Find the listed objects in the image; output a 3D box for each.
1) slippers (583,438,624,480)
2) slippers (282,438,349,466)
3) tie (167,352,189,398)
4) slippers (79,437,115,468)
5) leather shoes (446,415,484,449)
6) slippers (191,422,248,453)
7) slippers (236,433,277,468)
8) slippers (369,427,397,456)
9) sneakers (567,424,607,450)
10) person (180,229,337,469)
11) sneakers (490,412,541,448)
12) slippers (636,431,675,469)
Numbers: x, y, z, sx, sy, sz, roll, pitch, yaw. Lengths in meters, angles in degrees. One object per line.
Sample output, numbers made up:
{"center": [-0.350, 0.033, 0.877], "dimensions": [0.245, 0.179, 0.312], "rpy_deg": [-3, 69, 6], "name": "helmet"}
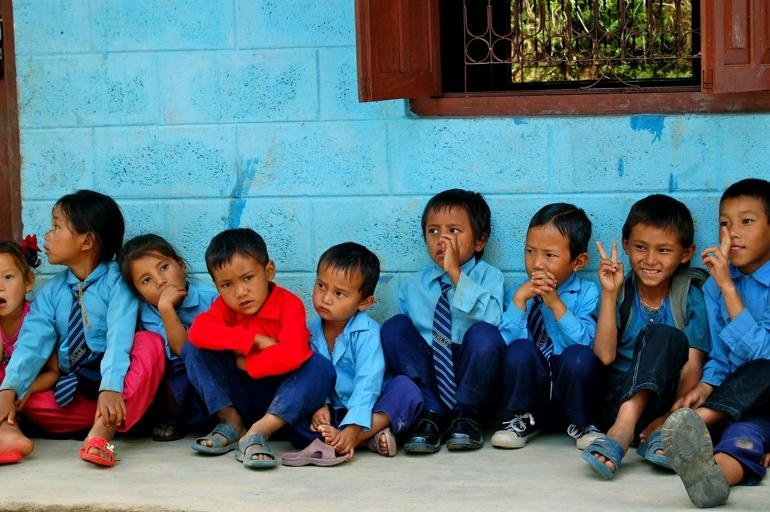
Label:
{"center": [1.021, 0.934, 3.913], "dimensions": [0.129, 0.098, 0.233], "rpy_deg": [38, 6, 4], "name": "slippers"}
{"center": [-0.356, 0.971, 4.196], "dimensions": [0.246, 0.082, 0.143], "rpy_deg": [-1, -3, -1], "name": "slippers"}
{"center": [-1.109, 0.639, 4.500], "dimensions": [0.086, 0.218, 0.138], "rpy_deg": [-2, -7, -34], "name": "tie"}
{"center": [-1.413, 0.960, 4.159], "dimensions": [0.163, 0.150, 0.211], "rpy_deg": [-5, 11, -19], "name": "slippers"}
{"center": [0.421, 0.917, 4.399], "dimensions": [0.190, 0.168, 0.202], "rpy_deg": [0, 10, 4], "name": "leather shoes"}
{"center": [-0.843, 0.941, 4.345], "dimensions": [0.120, 0.105, 0.283], "rpy_deg": [1, 1, 33], "name": "slippers"}
{"center": [-0.628, 0.963, 4.117], "dimensions": [0.197, 0.167, 0.137], "rpy_deg": [-2, 11, -8], "name": "slippers"}
{"center": [-0.010, 0.960, 4.356], "dimensions": [0.094, 0.069, 0.211], "rpy_deg": [-15, 3, -8], "name": "slippers"}
{"center": [1.025, 0.923, 4.329], "dimensions": [0.216, 0.082, 0.074], "rpy_deg": [-16, 3, 37], "name": "sneakers"}
{"center": [-0.660, 0.444, 4.324], "dimensions": [0.615, 1.124, 0.651], "rpy_deg": [7, 14, 37], "name": "person"}
{"center": [0.686, 0.903, 4.437], "dimensions": [0.183, 0.170, 0.300], "rpy_deg": [4, 11, 27], "name": "sneakers"}
{"center": [1.270, 0.919, 3.984], "dimensions": [0.101, 0.116, 0.283], "rpy_deg": [-3, -5, -12], "name": "slippers"}
